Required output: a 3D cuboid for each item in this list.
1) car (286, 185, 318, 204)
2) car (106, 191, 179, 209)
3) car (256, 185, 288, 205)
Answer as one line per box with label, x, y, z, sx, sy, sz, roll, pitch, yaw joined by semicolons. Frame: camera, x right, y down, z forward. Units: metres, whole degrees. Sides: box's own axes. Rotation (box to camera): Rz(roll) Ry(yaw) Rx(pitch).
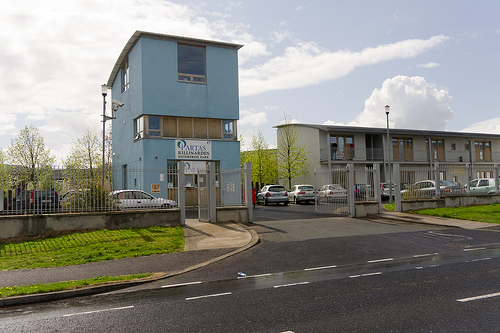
car;4.253;2.352;34.983;2.321;1.536;1.351;3;6;41
car;-5.051;1.556;19.843;2.067;0.732;0.979;-1;-3;-24
car;1.818;2.324;33.926;1.605;1.706;2.714;-3;5;-29
